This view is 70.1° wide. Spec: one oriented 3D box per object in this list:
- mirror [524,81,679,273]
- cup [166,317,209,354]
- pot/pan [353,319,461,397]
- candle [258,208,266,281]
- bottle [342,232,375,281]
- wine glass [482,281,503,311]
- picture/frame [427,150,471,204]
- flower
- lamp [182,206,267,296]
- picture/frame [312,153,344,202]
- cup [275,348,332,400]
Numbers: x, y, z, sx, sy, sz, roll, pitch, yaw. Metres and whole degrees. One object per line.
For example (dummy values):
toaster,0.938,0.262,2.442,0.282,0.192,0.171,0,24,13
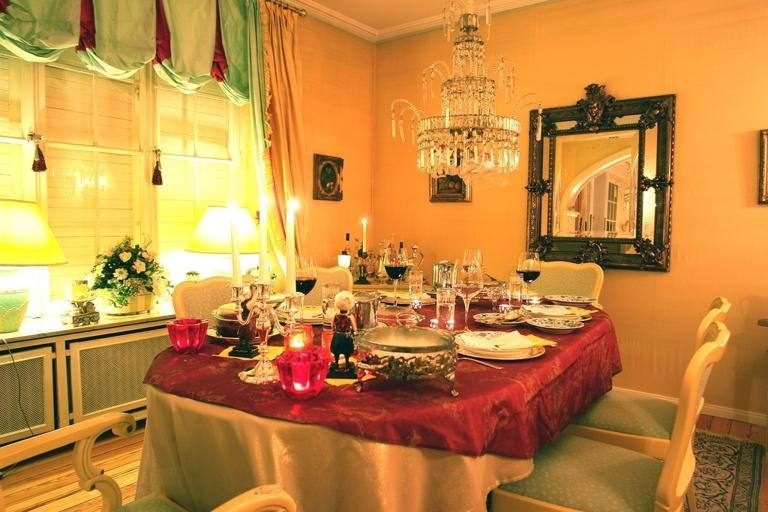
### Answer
mirror,1.896,-0.663,4.623,1.632,1.999,0.107,3,5,34
cup,-0.975,0.389,2.747,0.174,0.122,0.171,0,4,0
pot/pan,0.112,0.429,2.383,0.328,0.137,0.329,1,2,20
candle,-0.552,-0.055,2.490,0.035,0.317,0.195,-2,5,-13
bottle,-0.264,0.019,5.361,0.322,0.466,0.603,-1,4,-3
wine glass,0.710,0.260,3.530,0.150,0.163,0.151,-6,10,-20
picture/frame,0.535,-0.612,4.344,0.377,0.370,0.030,1,1,33
flower,-1.900,0.097,4.117,0.514,0.518,0.503,-6,1,31
lamp,-1.154,-0.086,3.998,0.733,0.708,0.712,-1,3,-20
picture/frame,-0.558,-0.760,5.328,0.069,0.481,0.519,2,-2,33
cup,-0.338,0.482,2.341,0.205,0.142,0.204,0,5,0
